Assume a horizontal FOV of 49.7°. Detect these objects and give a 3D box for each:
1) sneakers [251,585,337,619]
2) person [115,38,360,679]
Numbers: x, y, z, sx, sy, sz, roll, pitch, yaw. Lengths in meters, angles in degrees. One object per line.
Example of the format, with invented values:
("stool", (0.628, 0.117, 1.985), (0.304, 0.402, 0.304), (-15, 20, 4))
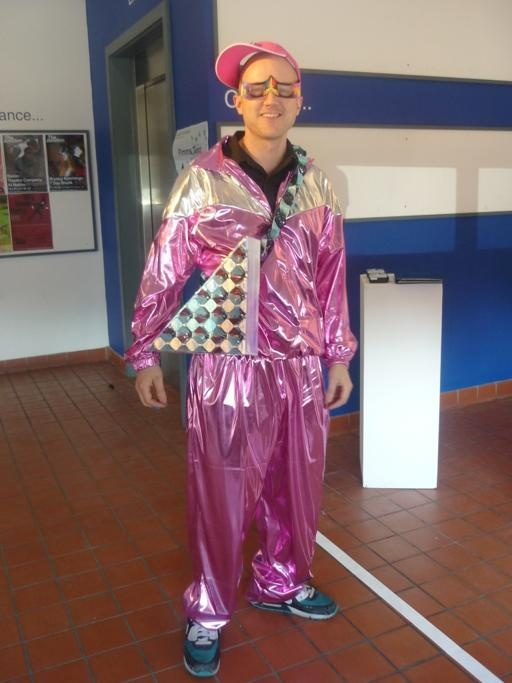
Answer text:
("sneakers", (0.120, 0.803, 1.734), (0.256, 0.111, 0.094), (4, -2, 4))
("person", (-0.001, 0.093, 1.421), (0.317, 1.560, 0.565), (6, 11, 44))
